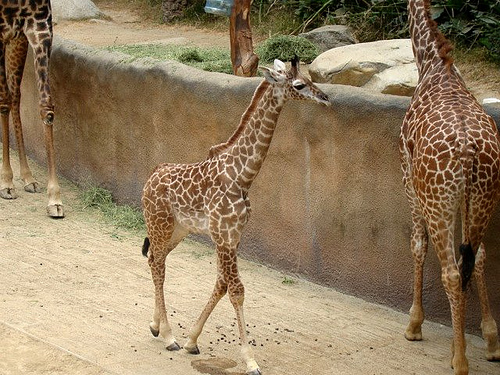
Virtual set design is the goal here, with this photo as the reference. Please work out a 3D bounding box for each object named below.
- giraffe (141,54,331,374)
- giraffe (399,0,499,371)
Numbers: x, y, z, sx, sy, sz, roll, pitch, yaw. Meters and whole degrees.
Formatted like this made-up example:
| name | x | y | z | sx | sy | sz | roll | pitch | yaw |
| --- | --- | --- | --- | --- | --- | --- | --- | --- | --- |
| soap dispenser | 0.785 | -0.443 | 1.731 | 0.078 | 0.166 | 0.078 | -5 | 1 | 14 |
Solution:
| name | x | y | z | sx | sy | sz | roll | pitch | yaw |
| --- | --- | --- | --- | --- | --- | --- | --- | --- | --- |
| giraffe | -0.228 | 0.131 | 5.766 | 1.159 | 2.206 | 0.693 | 9 | 19 | 20 |
| giraffe | 1.503 | 0.088 | 6.129 | 0.620 | 2.485 | 1.470 | 1 | 19 | -4 |
